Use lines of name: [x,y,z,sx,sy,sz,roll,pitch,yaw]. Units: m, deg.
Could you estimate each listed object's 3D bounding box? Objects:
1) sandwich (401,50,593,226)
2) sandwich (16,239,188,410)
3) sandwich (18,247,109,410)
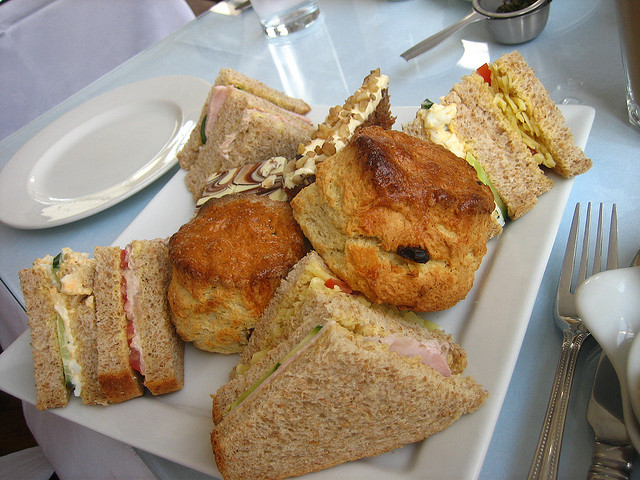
sandwich: [0.648,-0.361,1.846,0.488,0.256,0.558,-37,64,-8]
sandwich: [-0.760,0.291,1.790,0.533,0.178,0.612,-6,77,9]
sandwich: [-0.846,0.307,1.867,0.386,0.160,0.533,-9,87,46]
